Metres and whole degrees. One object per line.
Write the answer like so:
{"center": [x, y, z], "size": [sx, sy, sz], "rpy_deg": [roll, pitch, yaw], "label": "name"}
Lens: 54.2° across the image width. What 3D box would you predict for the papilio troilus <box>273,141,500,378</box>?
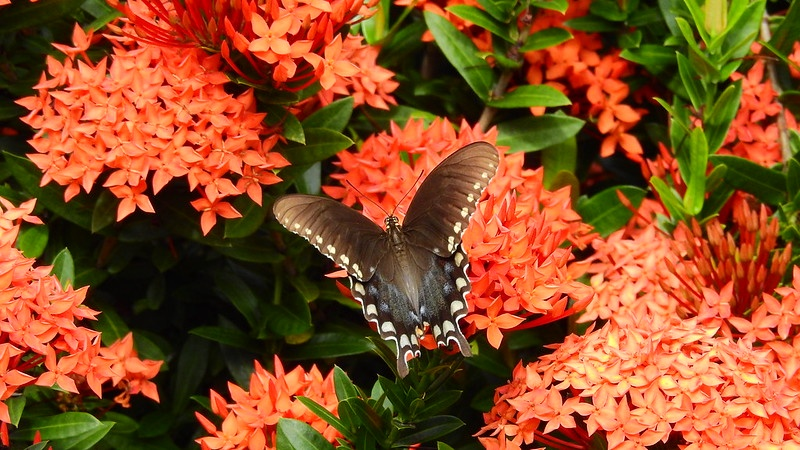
{"center": [-0.007, 0.131, 2.730], "size": [0.798, 0.420, 0.632], "rpy_deg": [-8, 52, 3], "label": "papilio troilus"}
